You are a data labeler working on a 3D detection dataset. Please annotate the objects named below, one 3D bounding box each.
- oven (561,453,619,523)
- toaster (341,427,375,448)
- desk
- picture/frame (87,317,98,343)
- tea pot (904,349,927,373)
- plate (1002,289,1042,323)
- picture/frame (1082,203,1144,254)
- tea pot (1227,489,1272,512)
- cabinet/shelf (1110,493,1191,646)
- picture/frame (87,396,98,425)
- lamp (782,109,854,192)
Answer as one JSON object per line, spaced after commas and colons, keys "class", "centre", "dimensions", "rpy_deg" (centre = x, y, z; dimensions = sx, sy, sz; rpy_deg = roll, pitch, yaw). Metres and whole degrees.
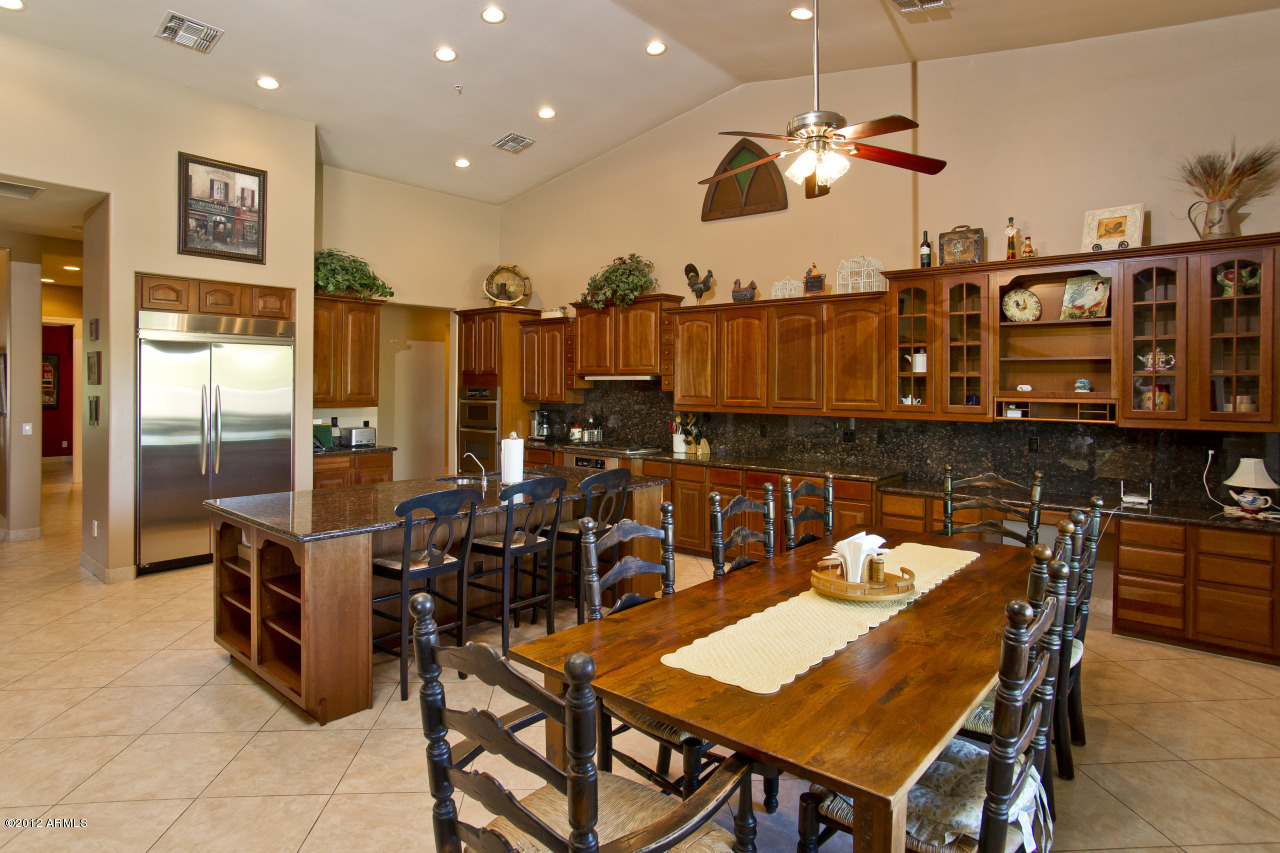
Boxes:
{"class": "oven", "centre": [-0.406, 0.515, 7.088], "dimensions": [0.475, 0.600, 0.446], "rpy_deg": [-3, 12, -40]}
{"class": "toaster", "centre": [-3.117, 0.073, 9.470], "dimensions": [0.318, 0.196, 0.231], "rpy_deg": [-3, 8, -44]}
{"class": "desk", "centre": [-1.968, 1.241, 6.694], "dimensions": [1.202, 1.026, 2.320], "rpy_deg": [11, 6, 35]}
{"class": "picture/frame", "centre": [-5.040, -0.883, 7.944], "dimensions": [0.037, 0.181, 0.274], "rpy_deg": [1, -1, -38]}
{"class": "tea pot", "centre": [2.420, -0.564, 7.552], "dimensions": [0.187, 0.311, 0.177], "rpy_deg": [2, -1, 0]}
{"class": "plate", "centre": [3.158, -0.998, 7.183], "dimensions": [0.265, 0.292, 0.140], "rpy_deg": [1, 4, 42]}
{"class": "picture/frame", "centre": [3.828, -1.585, 6.985], "dimensions": [0.549, 0.484, 0.056], "rpy_deg": [4, -22, 27]}
{"class": "tea pot", "centre": [4.549, 0.556, 6.506], "dimensions": [0.191, 0.168, 0.252], "rpy_deg": [2, 1, -28]}
{"class": "cabinet/shelf", "centre": [3.845, 1.133, 6.531], "dimensions": [0.481, 0.938, 0.124], "rpy_deg": [0, 3, 24]}
{"class": "picture/frame", "centre": [-5.032, -0.147, 7.938], "dimensions": [0.282, 0.293, 0.035], "rpy_deg": [0, -2, 42]}
{"class": "lamp", "centre": [1.101, -1.736, 5.393], "dimensions": [0.366, 0.483, 0.360], "rpy_deg": [-1, 3, 12]}
